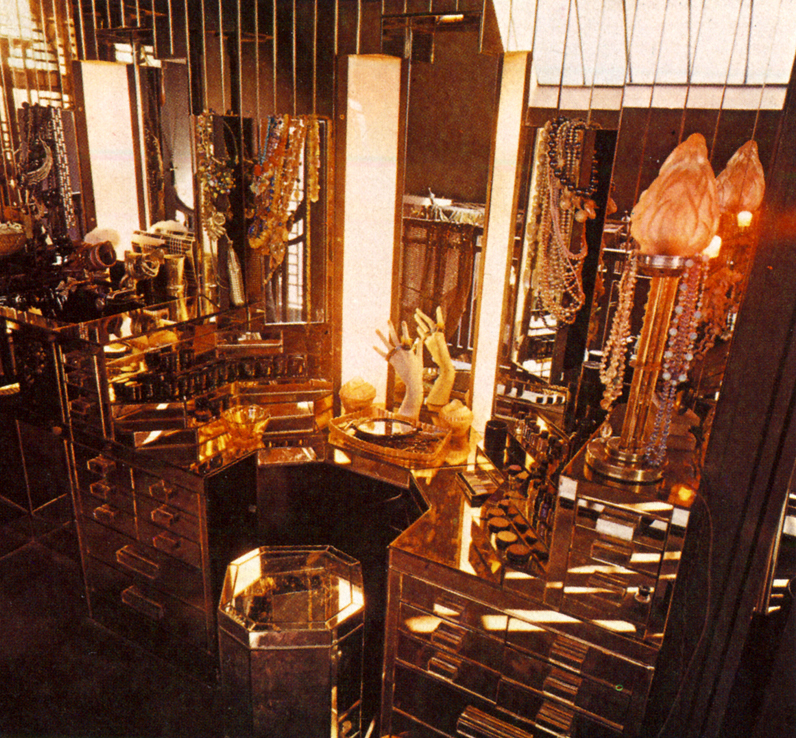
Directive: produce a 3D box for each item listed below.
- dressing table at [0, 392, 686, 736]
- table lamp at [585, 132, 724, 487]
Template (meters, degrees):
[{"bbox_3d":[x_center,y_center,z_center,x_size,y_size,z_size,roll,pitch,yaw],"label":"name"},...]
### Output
[{"bbox_3d":[-0.029,0.717,3.153,2.722,1.017,1.041,2,8,19],"label":"dressing table"},{"bbox_3d":[0.649,-0.145,2.045,0.244,0.882,0.245,5,17,11],"label":"table lamp"}]
